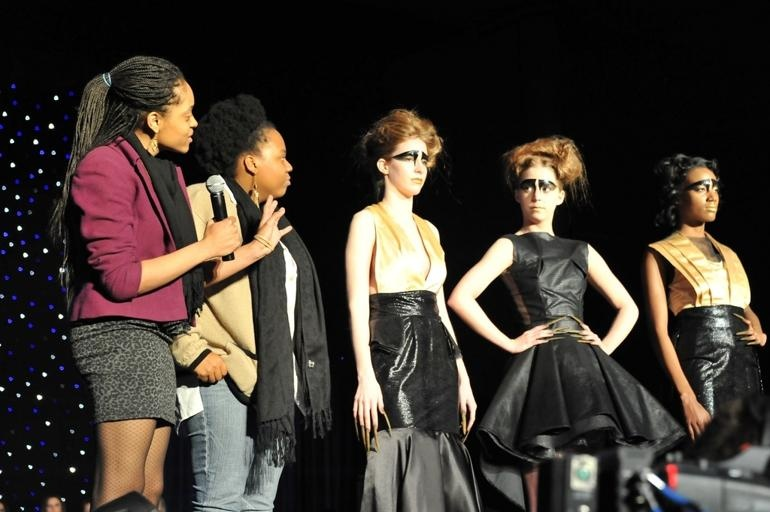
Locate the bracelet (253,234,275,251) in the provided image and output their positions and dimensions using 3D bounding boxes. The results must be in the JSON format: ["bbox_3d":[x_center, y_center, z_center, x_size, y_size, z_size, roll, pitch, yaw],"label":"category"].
[{"bbox_3d":[-0.531,-0.058,3.522,0.098,0.057,0.033,23,-5,-25],"label":"bracelet"}]

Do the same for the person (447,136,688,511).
[{"bbox_3d":[0.888,0.297,4.251,1.089,2.016,0.402,-3,-16,3],"label":"person"}]

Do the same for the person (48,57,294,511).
[{"bbox_3d":[-0.997,0.078,3.296,0.720,1.855,0.407,5,-17,-24],"label":"person"}]
